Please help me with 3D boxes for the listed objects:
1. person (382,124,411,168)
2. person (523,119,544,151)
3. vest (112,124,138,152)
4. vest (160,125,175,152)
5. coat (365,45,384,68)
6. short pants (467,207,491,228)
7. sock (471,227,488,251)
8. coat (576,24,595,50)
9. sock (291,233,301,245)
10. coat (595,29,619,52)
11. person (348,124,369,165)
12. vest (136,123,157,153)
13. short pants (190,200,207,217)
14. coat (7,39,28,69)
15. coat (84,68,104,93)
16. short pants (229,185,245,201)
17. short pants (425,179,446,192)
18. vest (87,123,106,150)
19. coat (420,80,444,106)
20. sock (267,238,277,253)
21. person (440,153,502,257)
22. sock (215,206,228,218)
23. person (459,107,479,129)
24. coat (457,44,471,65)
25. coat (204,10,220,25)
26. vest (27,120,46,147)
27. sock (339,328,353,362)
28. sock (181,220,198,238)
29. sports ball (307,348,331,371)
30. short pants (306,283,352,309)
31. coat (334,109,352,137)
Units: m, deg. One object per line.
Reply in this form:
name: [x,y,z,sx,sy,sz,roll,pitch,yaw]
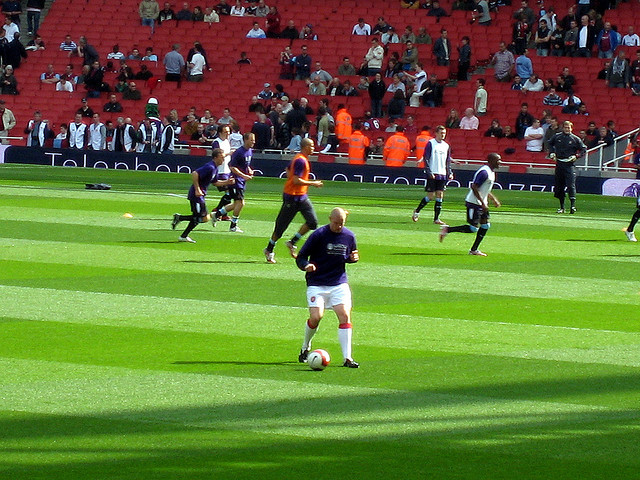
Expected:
person: [2.534,-3.000,43.508,0.783,1.315,2.145,5,4,4]
person: [6.876,-3.308,43.074,0.620,0.953,0.538,5,4,7]
vest: [-6.725,-3.480,46.694,1.078,1.212,0.690,1,1,5]
vest: [-5.210,-3.471,46.436,0.476,0.939,0.495,4,5,-7]
coat: [1.967,-6.436,47.710,0.584,0.786,0.697,5,4,0]
short pants: [3.125,-0.487,26.473,0.327,0.446,0.523,-4,5,-25]
sock: [3.133,-0.037,26.349,0.226,0.470,0.426,4,4,-6]
coat: [9.226,-6.965,46.692,0.600,0.818,0.527,6,5,13]
sock: [-0.411,-0.038,24.352,0.146,0.217,0.255,4,4,-13]
coat: [9.837,-6.754,46.000,0.540,0.860,0.924,-8,10,-43]
person: [1.276,-2.975,43.590,0.603,1.078,0.656,5,4,1]
vest: [-5.967,-3.526,46.644,0.997,1.094,0.645,3,20,-4]
short pants: [-2.359,-0.618,26.404,0.340,0.293,0.292,4,4,-3]
coat: [-12.118,-7.365,53.958,0.616,1.147,1.142,4,4,-6]
coat: [-8.557,-6.038,51.367,0.792,0.851,0.586,6,5,20]
short pants: [-1.744,-1.004,28.301,0.291,0.251,0.171,13,27,40]
short pants: [2.683,-1.215,30.845,0.494,0.402,0.266,3,-7,-2]
vest: [-7.819,-3.615,47.213,0.444,0.873,0.814,4,4,-11]
coat: [3.905,-5.062,46.922,1.038,0.987,0.616,1,-4,0]
sock: [-0.877,0.084,24.704,0.124,0.251,0.376,5,4,-4]
person: [3.092,-0.742,26.830,0.970,2.006,1.467,6,5,7]
sock: [-2.103,-0.604,28.887,0.288,0.133,0.290,-12,34,49]
person: [4.903,-3.994,44.824,0.658,0.664,0.706,7,5,28]
coat: [4.997,-6.439,47.266,0.539,0.805,0.806,6,12,35]
coat: [-4.287,-8.867,54.371,0.882,0.657,0.459,1,11,10]
vest: [-10.262,-3.831,48.809,0.446,0.904,1.517,3,5,-24]
sock: [0.355,1.360,17.961,0.160,0.465,0.218,7,5,21]
sock: [-2.597,-0.237,26.847,0.261,0.344,0.510,3,4,-16]
sports ball: [-0.003,1.560,17.976,0.302,0.272,0.380,4,4,0]
short pants: [0.135,0.728,17.957,0.651,0.406,0.332,0,-9,-9]
coat: [0.786,-3.887,45.220,0.520,0.913,0.846,6,5,15]
